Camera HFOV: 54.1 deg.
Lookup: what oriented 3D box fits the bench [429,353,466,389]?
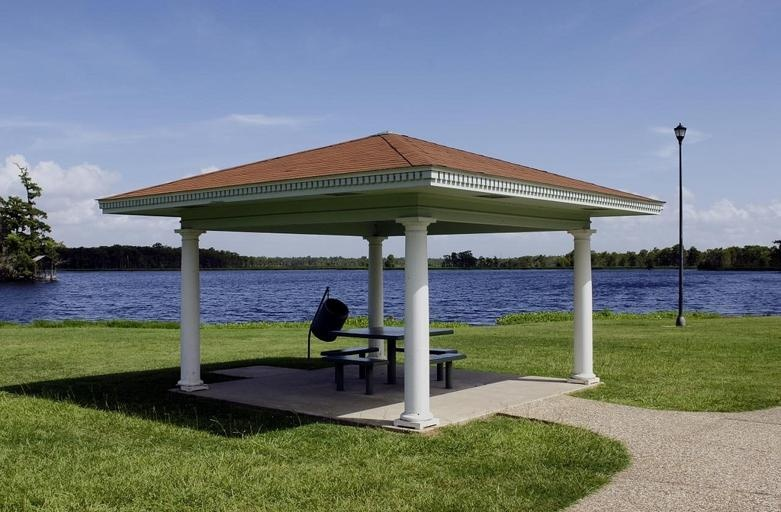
[{"bbox_3d":[1.165,2.536,17.043,0.850,0.606,0.831,0,-2,-43],"label":"bench"}]

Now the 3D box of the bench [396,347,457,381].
[{"bbox_3d":[0.806,2.256,15.881,1.373,0.756,0.727,1,4,34],"label":"bench"}]

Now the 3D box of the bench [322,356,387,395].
[{"bbox_3d":[-0.495,2.546,16.579,0.696,0.528,1.271,11,-7,-29],"label":"bench"}]
